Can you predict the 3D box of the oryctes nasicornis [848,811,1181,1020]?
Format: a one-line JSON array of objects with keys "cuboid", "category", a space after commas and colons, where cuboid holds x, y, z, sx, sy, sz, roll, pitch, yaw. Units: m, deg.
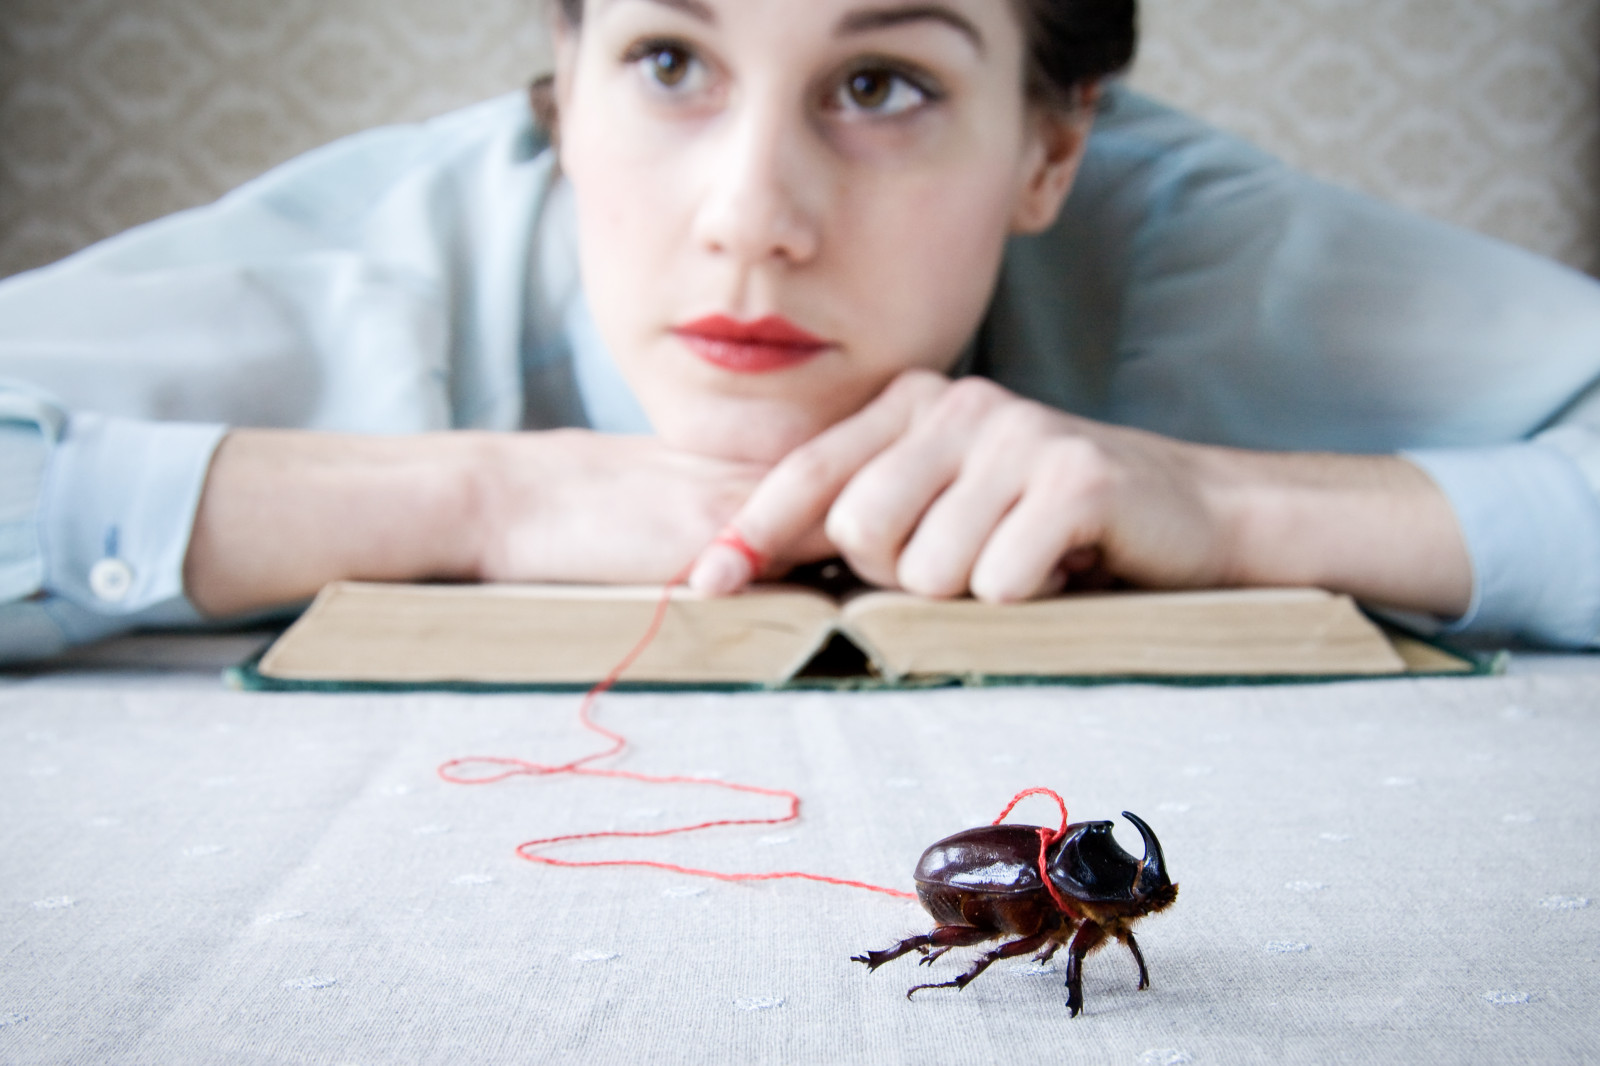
[{"cuboid": [0.120, 0.196, 0.711, 0.150, 0.098, 0.156, -6, -12, 28], "category": "oryctes nasicornis"}]
